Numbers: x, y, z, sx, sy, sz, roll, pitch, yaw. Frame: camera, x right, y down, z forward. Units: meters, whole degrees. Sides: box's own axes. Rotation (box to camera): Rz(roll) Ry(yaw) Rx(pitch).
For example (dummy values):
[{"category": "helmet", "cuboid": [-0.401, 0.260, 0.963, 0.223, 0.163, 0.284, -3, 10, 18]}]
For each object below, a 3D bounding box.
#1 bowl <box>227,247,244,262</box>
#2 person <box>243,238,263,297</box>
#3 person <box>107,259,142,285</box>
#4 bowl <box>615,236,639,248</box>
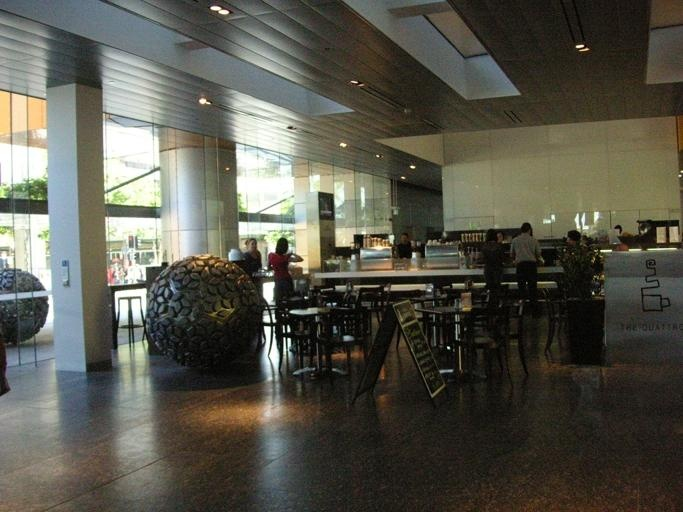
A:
[{"category": "bowl", "cuboid": [-2.563, -0.030, 12.863, 0.373, 0.266, 0.373, -2, -3, 0]}, {"category": "person", "cuboid": [-1.868, 0.224, 11.389, 0.331, 1.167, 1.262, -4, 3, -10]}, {"category": "person", "cuboid": [-4.474, 0.304, 11.196, 0.427, 0.455, 0.880, -1, 4, 26]}, {"category": "bowl", "cuboid": [6.181, -0.307, 11.762, 0.379, 0.226, 0.196, 1, -4, -31]}]
